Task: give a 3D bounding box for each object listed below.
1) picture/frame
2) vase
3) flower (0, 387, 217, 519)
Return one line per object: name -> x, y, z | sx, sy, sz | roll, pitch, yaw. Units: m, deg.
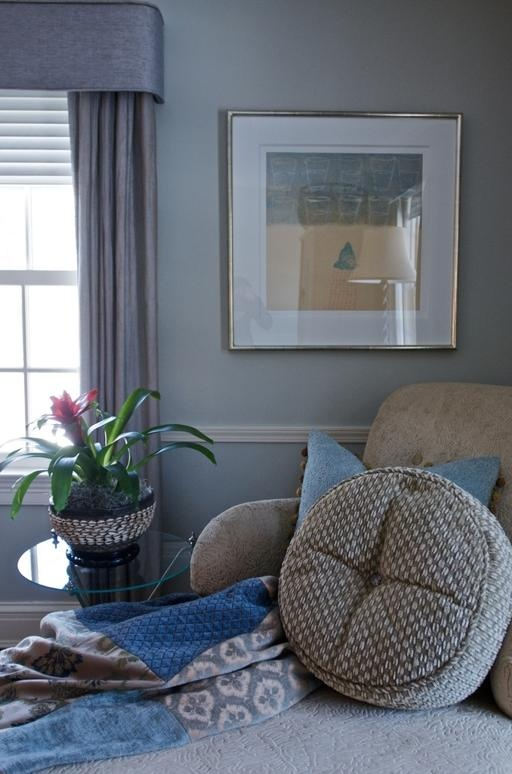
picture/frame -> 0.284, -0.565, 2.486 | 0.822, 0.798, 0.030 | 0, 5, 3
vase -> -0.378, 0.350, 1.931 | 0.229, 0.094, 0.219 | -3, 6, -24
flower -> -0.386, 0.178, 1.985 | 0.477, 0.261, 0.538 | 4, 6, 28
